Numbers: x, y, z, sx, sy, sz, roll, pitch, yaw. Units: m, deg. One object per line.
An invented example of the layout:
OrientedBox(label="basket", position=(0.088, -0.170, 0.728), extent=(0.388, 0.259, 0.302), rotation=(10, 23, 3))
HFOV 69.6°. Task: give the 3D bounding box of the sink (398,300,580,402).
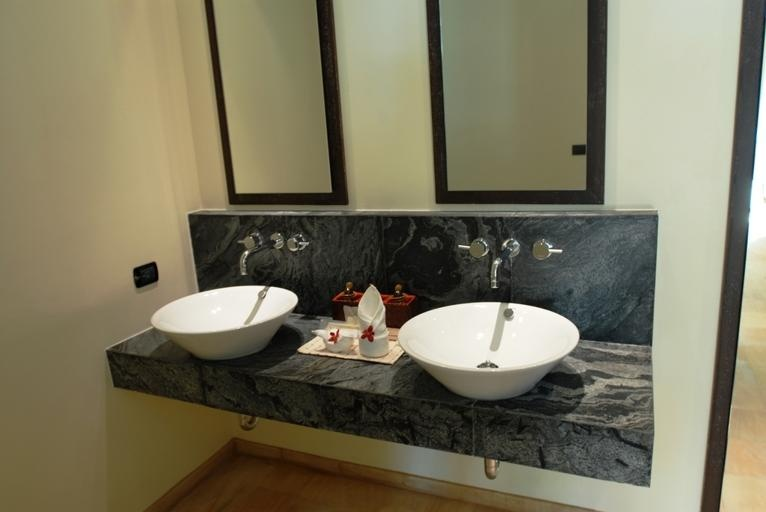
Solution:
OrientedBox(label="sink", position=(0.388, 0.356, 2.047), extent=(0.634, 0.237, 0.492), rotation=(1, 14, 18))

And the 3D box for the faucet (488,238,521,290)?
OrientedBox(label="faucet", position=(0.476, 0.009, 2.233), extent=(0.095, 0.097, 0.259), rotation=(-3, 51, 44))

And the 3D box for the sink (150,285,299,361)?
OrientedBox(label="sink", position=(-0.675, 0.292, 2.391), extent=(0.584, 0.218, 0.475), rotation=(-10, 15, -24))
